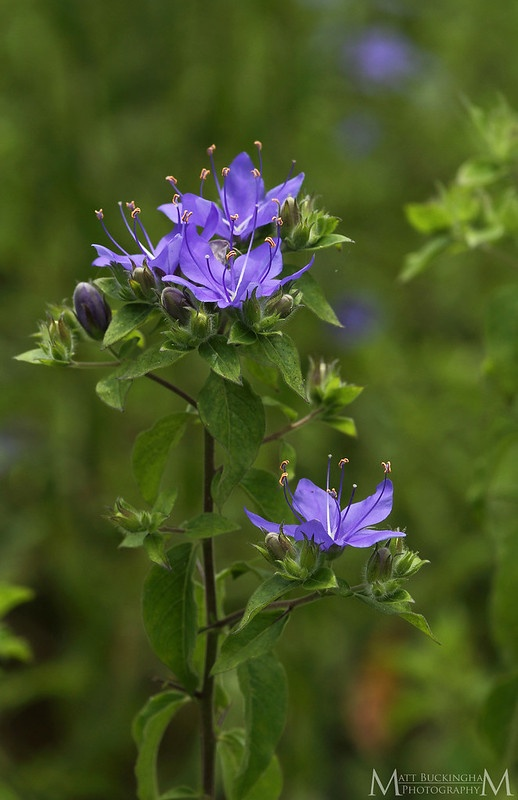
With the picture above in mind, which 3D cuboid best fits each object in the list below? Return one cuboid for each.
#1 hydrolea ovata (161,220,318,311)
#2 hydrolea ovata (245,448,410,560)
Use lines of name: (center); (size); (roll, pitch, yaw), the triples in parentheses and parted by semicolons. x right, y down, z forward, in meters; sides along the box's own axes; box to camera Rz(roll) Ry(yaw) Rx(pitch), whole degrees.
hydrolea ovata: (-0.090, -0.324, 1.849); (0.390, 0.160, 0.341); (-19, 14, -35)
hydrolea ovata: (0.200, 0.242, 1.795); (0.271, 0.173, 0.280); (6, 17, -18)
